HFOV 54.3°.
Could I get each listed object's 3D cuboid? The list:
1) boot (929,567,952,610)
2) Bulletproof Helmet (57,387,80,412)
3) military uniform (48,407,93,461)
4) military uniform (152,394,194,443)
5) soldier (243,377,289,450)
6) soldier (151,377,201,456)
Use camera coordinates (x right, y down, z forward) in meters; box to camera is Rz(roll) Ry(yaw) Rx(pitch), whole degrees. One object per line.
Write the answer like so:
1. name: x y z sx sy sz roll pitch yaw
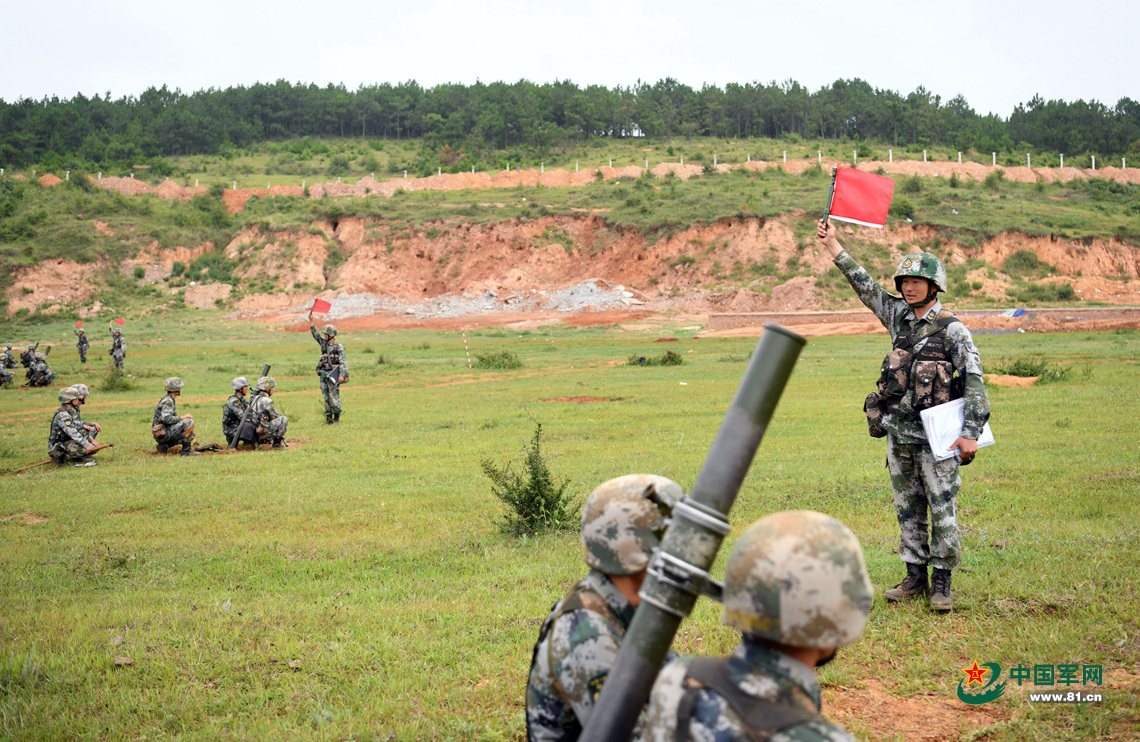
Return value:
1. boot: 5.448 3.180 16.295 0.347 0.637 0.287 2 6 17
2. Bulletproof Helmet: -11.201 0.593 24.677 0.491 0.486 0.455 -7 14 -25
3. military uniform: -11.084 1.362 24.555 0.888 1.330 0.437 -2 7 -24
4. military uniform: -9.477 1.064 25.800 1.039 1.151 1.141 -5 15 -31
5. soldier: -7.483 1.076 27.090 1.134 1.516 1.042 19 26 33
6. soldier: -9.841 1.166 27.595 1.268 1.932 1.211 -9 20 -35
